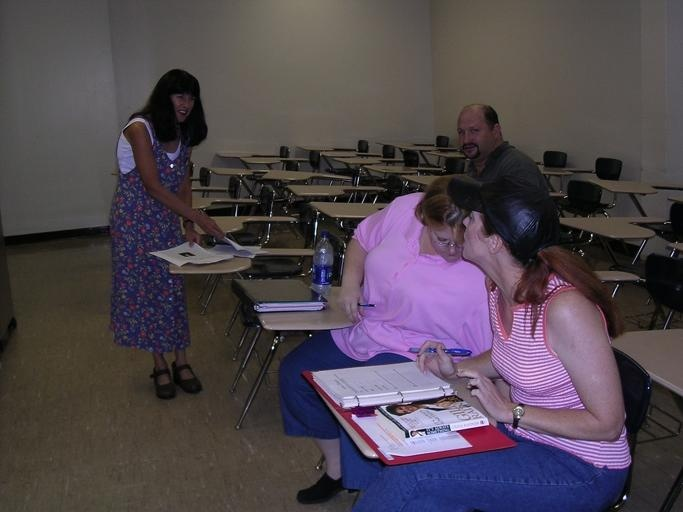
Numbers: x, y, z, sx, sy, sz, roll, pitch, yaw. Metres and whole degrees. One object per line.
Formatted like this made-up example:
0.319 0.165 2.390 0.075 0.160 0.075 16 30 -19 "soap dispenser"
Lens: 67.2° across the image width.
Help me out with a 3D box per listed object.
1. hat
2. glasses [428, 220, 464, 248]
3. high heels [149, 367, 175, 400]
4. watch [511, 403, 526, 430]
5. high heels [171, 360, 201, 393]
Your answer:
0.504 -0.126 1.490 0.289 0.156 0.198 10 40 33 "hat"
0.395 -0.088 1.927 0.081 0.061 0.107 2 15 -3 "glasses"
-1.124 0.794 3.195 0.098 0.102 0.234 -6 25 -26 "high heels"
0.492 0.445 1.433 0.037 0.060 0.059 15 -8 19 "watch"
-1.020 0.785 3.313 0.103 0.117 0.281 -5 13 -32 "high heels"
